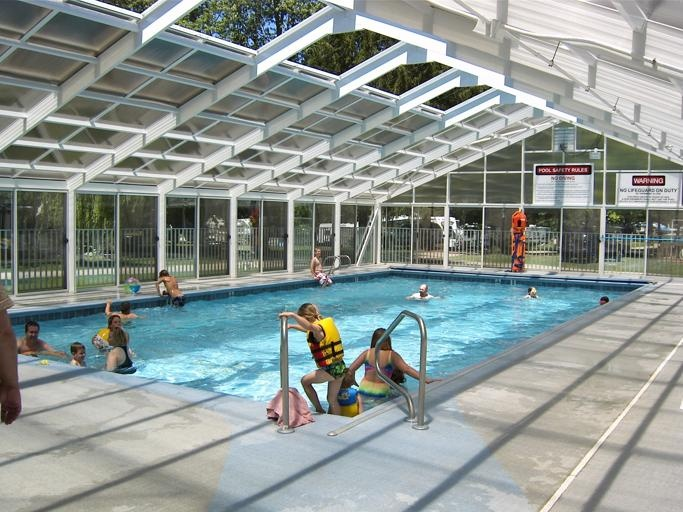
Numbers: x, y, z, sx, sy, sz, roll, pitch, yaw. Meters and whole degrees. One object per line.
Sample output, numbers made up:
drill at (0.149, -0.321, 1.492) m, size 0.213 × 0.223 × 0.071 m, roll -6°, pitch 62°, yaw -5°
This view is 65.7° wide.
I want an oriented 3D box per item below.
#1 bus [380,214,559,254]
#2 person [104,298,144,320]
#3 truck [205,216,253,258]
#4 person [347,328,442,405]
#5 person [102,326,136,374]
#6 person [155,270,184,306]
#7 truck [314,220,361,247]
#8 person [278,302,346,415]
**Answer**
bus at (6.137, -1.095, 25.007) m, size 7.834 × 1.799 × 0.561 m, roll 2°, pitch 5°, yaw 22°
person at (-5.389, 1.296, 12.987) m, size 0.708 × 0.328 × 1.097 m, roll -3°, pitch 11°, yaw -22°
truck at (-4.215, -0.745, 19.429) m, size 1.887 × 1.084 × 0.048 m, roll -1°, pitch 11°, yaw -34°
person at (0.809, 1.666, 7.978) m, size 1.852 × 1.197 × 0.628 m, roll -1°, pitch 4°, yaw 31°
person at (-3.704, 1.596, 8.851) m, size 0.510 × 0.827 × 0.392 m, roll -3°, pitch 6°, yaw -41°
person at (-4.798, 0.834, 14.718) m, size 0.693 × 0.995 × 1.199 m, roll -2°, pitch 5°, yaw -29°
truck at (-0.194, -1.047, 24.363) m, size 0.196 × 1.016 × 2.736 m, roll 4°, pitch 5°, yaw 37°
person at (-0.255, 1.270, 6.151) m, size 0.640 × 1.443 × 1.277 m, roll 1°, pitch 4°, yaw 1°
